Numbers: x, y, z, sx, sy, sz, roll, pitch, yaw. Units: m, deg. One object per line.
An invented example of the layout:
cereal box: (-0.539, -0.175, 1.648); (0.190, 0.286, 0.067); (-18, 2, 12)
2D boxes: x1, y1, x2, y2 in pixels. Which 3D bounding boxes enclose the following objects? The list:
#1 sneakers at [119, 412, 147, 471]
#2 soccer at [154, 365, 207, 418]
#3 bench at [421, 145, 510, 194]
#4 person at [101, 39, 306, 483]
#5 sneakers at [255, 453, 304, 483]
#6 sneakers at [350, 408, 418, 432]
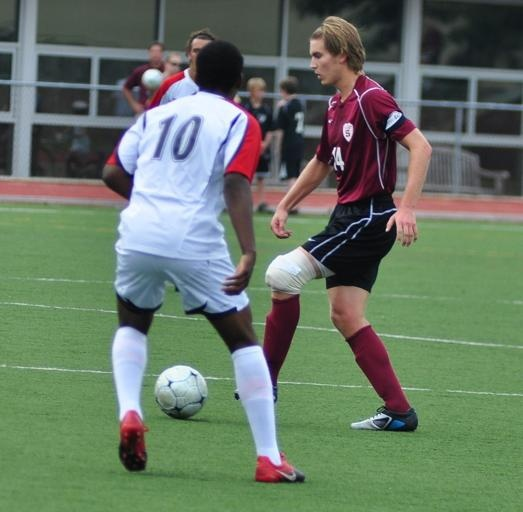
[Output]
sneakers: (-0.485, 0.722, 4.260); (0.072, 0.184, 0.163); (-2, 16, 8)
soccer: (-0.426, 0.657, 5.298); (0.258, 0.268, 0.259); (5, 4, 26)
bench: (3.290, -1.381, 17.845); (1.536, 0.727, 0.437); (1, 8, -20)
person: (-0.243, -0.003, 4.499); (0.792, 1.740, 0.658); (1, 7, -13)
sneakers: (0.062, 0.855, 4.416); (0.234, 0.116, 0.081); (4, -1, -28)
sneakers: (0.597, 0.784, 5.301); (0.334, 0.133, 0.121); (3, -3, 2)
